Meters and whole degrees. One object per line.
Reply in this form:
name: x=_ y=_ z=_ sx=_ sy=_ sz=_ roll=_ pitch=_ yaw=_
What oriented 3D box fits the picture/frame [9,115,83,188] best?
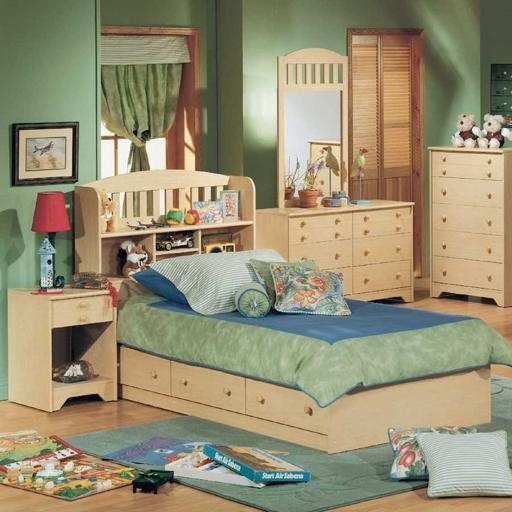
picture/frame: x=-1.355 y=-0.672 z=3.756 sx=0.566 sy=0.405 sz=0.044 roll=-7 pitch=11 yaw=-44

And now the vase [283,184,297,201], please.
vase: x=0.345 y=-0.611 z=5.804 sx=0.148 sy=0.091 sz=0.134 roll=0 pitch=12 yaw=3

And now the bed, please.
bed: x=0.123 y=0.345 z=3.758 sx=1.834 sy=1.332 sz=2.565 roll=-7 pitch=9 yaw=-43

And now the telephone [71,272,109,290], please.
telephone: x=-1.024 y=0.148 z=3.624 sx=0.178 sy=0.060 sz=0.118 roll=5 pitch=4 yaw=23

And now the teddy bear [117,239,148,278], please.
teddy bear: x=-0.855 y=0.007 z=4.145 sx=0.289 sy=0.237 sz=0.167 roll=3 pitch=8 yaw=33

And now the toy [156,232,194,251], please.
toy: x=-0.609 y=-0.118 z=4.460 sx=0.232 sy=0.098 sz=0.135 roll=-1 pitch=3 yaw=-36

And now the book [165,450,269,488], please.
book: x=-0.180 y=0.825 z=2.249 sx=0.191 sy=0.043 sz=0.434 roll=0 pitch=-2 yaw=-40

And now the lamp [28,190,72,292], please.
lamp: x=-1.268 y=-0.109 z=3.635 sx=0.213 sy=0.634 sz=0.340 roll=-1 pitch=-3 yaw=-23

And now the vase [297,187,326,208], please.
vase: x=0.532 y=-0.579 z=5.850 sx=0.239 sy=0.138 sz=0.214 roll=-1 pitch=3 yaw=-15
